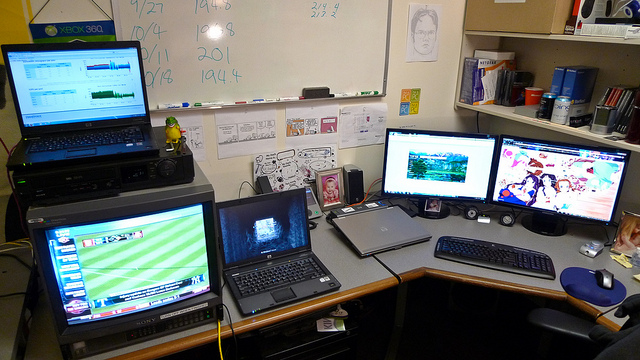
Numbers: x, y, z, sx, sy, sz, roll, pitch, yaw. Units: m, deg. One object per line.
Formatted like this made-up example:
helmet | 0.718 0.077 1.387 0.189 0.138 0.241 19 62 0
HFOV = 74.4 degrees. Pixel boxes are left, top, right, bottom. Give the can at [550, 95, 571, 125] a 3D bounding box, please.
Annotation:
can | 1.640 -0.477 2.856 0.093 0.182 0.114 13 27 36

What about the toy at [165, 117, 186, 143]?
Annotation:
toy | -0.818 -0.277 2.355 0.169 0.163 0.123 0 8 -14

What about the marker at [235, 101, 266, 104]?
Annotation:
marker | -0.477 -0.531 2.873 0.203 0.013 0.029 -5 20 -7

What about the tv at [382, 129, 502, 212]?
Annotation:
tv | 0.844 -0.085 3.072 0.847 0.520 0.220 4 12 -11

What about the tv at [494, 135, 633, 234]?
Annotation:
tv | 1.678 0.024 2.874 0.639 0.472 0.270 13 32 23

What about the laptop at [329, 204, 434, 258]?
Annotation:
laptop | 0.421 0.332 2.894 0.583 0.059 0.411 -8 31 -24

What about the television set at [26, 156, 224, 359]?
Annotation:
television set | -1.078 0.413 2.612 0.997 0.908 1.013 -11 24 -28

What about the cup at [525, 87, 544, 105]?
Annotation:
cup | 1.568 -0.616 3.093 0.130 0.121 0.130 -1 16 0

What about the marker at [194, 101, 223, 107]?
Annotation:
marker | -0.743 -0.507 2.806 0.185 0.023 0.027 -8 21 -15

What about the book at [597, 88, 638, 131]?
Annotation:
book | 1.915 -0.457 2.735 0.178 0.258 0.143 12 26 34

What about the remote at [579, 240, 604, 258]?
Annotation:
remote | 1.787 0.451 2.772 0.160 0.052 0.084 -16 31 -33

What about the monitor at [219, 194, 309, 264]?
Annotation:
monitor | -0.364 0.315 2.649 0.469 0.274 0.009 -8 -2 -20

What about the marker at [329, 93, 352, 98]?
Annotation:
marker | 0.152 -0.617 3.071 0.180 0.029 0.030 -8 22 -15

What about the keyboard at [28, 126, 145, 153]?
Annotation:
keyboard | -1.262 -0.225 2.307 0.563 0.049 0.181 -8 20 -13

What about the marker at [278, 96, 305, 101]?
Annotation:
marker | -0.210 -0.573 2.960 0.229 0.021 0.024 -5 10 -15

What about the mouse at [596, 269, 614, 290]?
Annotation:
mouse | 1.728 0.601 2.559 0.087 0.079 0.105 6 22 22

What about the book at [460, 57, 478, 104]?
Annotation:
book | 1.160 -0.769 3.275 0.064 0.340 0.136 -9 23 -12

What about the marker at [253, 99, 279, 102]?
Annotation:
marker | -0.369 -0.550 2.911 0.167 0.021 0.026 -5 21 -6
